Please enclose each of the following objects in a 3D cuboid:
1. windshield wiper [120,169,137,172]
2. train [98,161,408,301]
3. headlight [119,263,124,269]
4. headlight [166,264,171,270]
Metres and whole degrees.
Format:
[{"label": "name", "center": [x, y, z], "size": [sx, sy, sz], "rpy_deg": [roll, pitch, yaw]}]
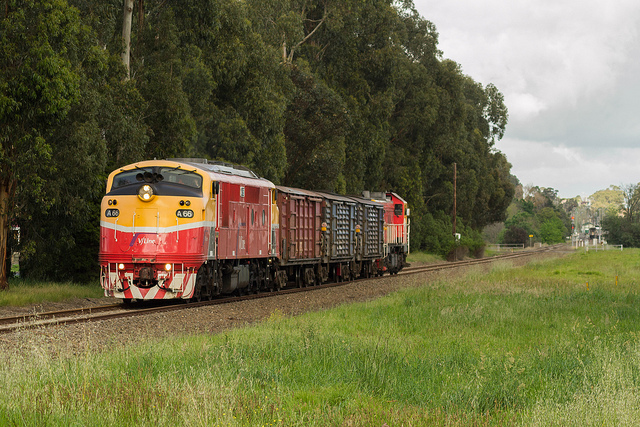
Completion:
[{"label": "windshield wiper", "center": [-7.117, -1.607, 24.822], "size": [0.616, 0.091, 0.045], "rpy_deg": [2, 3, 15]}, {"label": "train", "center": [-1.049, 1.064, 35.057], "size": [2.710, 5.613, 25.626], "rpy_deg": [-6, -5, 25]}, {"label": "headlight", "center": [-7.052, 1.853, 23.734], "size": [0.136, 0.197, 0.152], "rpy_deg": [1, 7, 5]}, {"label": "headlight", "center": [-5.384, 1.883, 23.730], "size": [0.154, 0.184, 0.051], "rpy_deg": [1, 3, -11]}]
